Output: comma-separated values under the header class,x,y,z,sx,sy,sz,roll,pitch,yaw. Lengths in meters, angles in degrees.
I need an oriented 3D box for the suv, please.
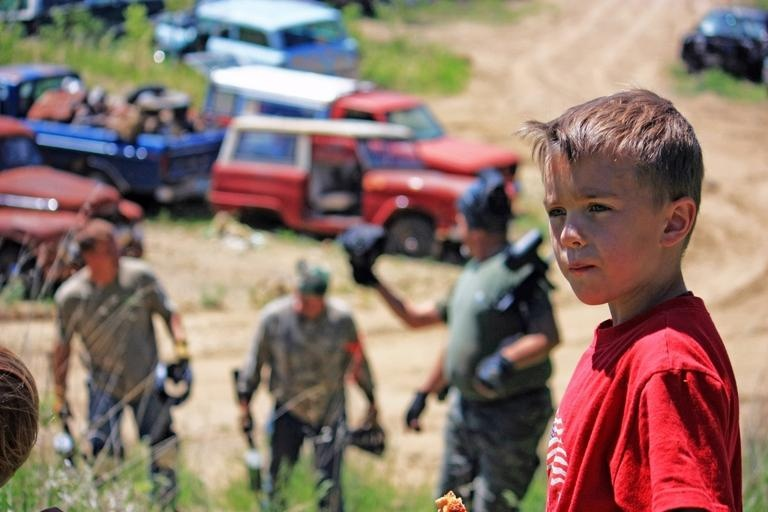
class,x,y,z,sx,sy,sz,roll,pitch,yaw
suv,-1.502,-1.344,20.798,5.319,2.455,3.233,7,25,0
